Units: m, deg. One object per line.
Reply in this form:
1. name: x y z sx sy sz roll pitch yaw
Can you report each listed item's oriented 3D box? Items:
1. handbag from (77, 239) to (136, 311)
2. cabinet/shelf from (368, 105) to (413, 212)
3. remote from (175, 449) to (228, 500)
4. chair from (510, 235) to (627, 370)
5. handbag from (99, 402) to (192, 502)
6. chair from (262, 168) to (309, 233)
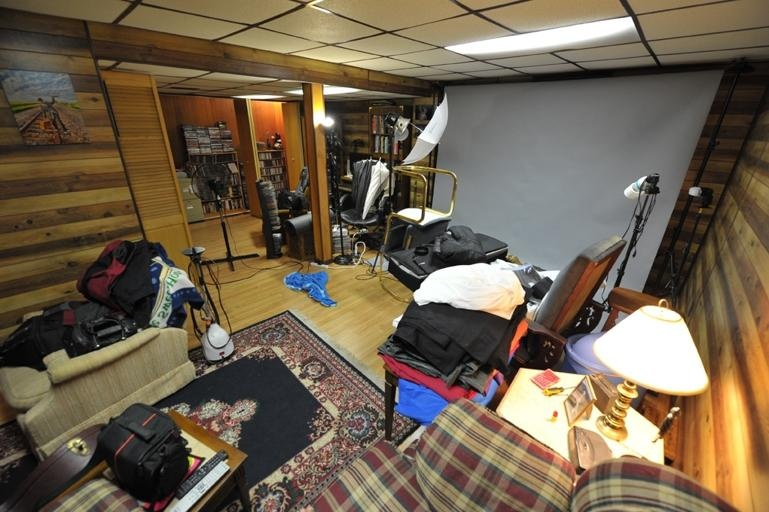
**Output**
1. handbag: -2.366 0.144 3.960 0.221 0.478 0.569 28 50 -38
2. cabinet/shelf: 0.172 -1.170 5.528 0.391 1.202 0.289 6 28 19
3. remote: -1.229 1.507 3.104 0.117 0.108 0.493 40 57 20
4. chair: 1.637 0.411 3.817 0.802 1.157 0.827 -18 34 -32
5. handbag: -1.623 1.302 3.184 0.663 0.594 0.461 18 29 23
6. chair: -1.448 -0.765 6.356 0.613 0.891 0.944 4 24 2
